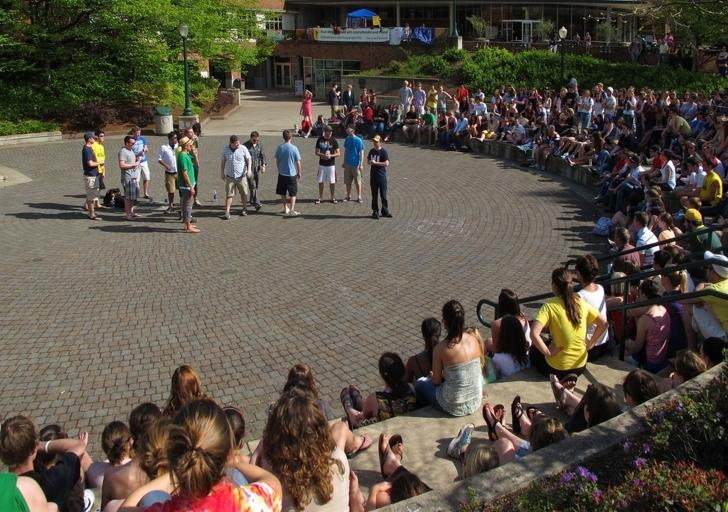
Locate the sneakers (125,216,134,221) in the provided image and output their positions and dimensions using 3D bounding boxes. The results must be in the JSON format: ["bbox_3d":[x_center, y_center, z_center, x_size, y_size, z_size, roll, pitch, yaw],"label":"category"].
[{"bbox_3d":[-5.934,-0.949,16.887,0.251,0.111,0.092,4,10,42],"label":"sneakers"}]

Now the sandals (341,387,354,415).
[{"bbox_3d":[-0.215,1.835,8.568,0.133,0.415,0.100,-19,-27,41],"label":"sandals"}]

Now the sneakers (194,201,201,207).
[{"bbox_3d":[-4.535,-1.420,18.181,0.101,0.113,0.240,-9,12,-33],"label":"sneakers"}]

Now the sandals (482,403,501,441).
[{"bbox_3d":[1.458,1.822,7.502,0.102,0.443,0.155,1,-1,-41],"label":"sandals"}]

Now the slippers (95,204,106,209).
[{"bbox_3d":[-7.196,-1.337,18.186,0.271,0.118,0.103,-1,51,-8],"label":"slippers"}]

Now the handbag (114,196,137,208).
[{"bbox_3d":[-6.417,-1.446,17.863,0.505,0.531,0.606,-5,7,-26],"label":"handbag"}]

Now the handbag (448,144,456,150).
[{"bbox_3d":[3.619,-4.398,27.170,0.238,0.248,0.428,9,20,-1],"label":"handbag"}]

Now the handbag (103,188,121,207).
[{"bbox_3d":[-6.816,-1.548,18.118,0.460,0.214,0.511,-2,49,4],"label":"handbag"}]

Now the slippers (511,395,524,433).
[{"bbox_3d":[1.799,1.800,7.793,0.119,0.440,0.269,1,14,8],"label":"slippers"}]

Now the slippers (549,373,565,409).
[{"bbox_3d":[2.367,1.626,8.139,0.088,0.371,0.145,-7,-21,25],"label":"slippers"}]

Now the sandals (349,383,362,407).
[{"bbox_3d":[-0.094,1.789,8.599,0.094,0.106,0.294,-3,41,-10],"label":"sandals"}]

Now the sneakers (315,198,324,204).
[{"bbox_3d":[-1.263,-1.540,18.685,0.080,0.115,0.259,1,16,8],"label":"sneakers"}]

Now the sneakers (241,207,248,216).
[{"bbox_3d":[-3.130,-1.161,17.457,0.191,0.262,0.562,-1,4,-5],"label":"sneakers"}]

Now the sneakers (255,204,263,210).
[{"bbox_3d":[-2.813,-1.296,17.806,0.138,0.096,0.202,1,9,0],"label":"sneakers"}]

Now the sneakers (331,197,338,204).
[{"bbox_3d":[-0.817,-1.535,18.694,0.233,0.183,0.084,-8,8,3],"label":"sneakers"}]

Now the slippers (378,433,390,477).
[{"bbox_3d":[0.208,2.118,7.175,0.087,0.420,0.134,0,-2,31],"label":"slippers"}]

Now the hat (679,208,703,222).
[{"bbox_3d":[6.132,-0.711,12.337,0.331,0.187,0.240,11,13,-43],"label":"hat"}]

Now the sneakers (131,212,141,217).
[{"bbox_3d":[-5.854,-1.051,17.060,0.234,0.106,0.082,7,14,43],"label":"sneakers"}]

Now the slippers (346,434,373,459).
[{"bbox_3d":[-0.066,2.107,7.506,0.131,0.214,0.443,4,7,28],"label":"slippers"}]

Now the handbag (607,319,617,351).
[{"bbox_3d":[3.615,1.128,9.639,0.118,0.390,0.218,5,15,22],"label":"handbag"}]

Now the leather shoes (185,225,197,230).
[{"bbox_3d":[-4.150,-0.678,15.919,0.147,0.056,0.160,-3,16,-2],"label":"leather shoes"}]
